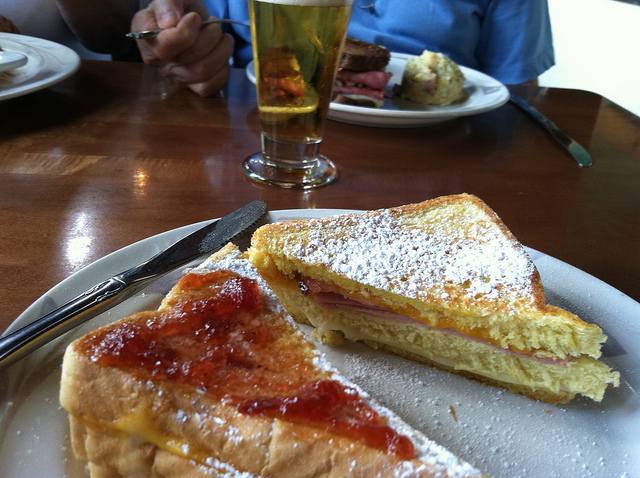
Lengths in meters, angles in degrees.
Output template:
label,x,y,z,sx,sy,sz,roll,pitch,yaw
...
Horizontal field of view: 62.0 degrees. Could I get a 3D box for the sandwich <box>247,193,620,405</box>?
label,x,y,z,sx,sy,sz,roll,pitch,yaw
sandwich,0.317,0.151,1.451,0.679,0.215,0.688,-19,43,-15
